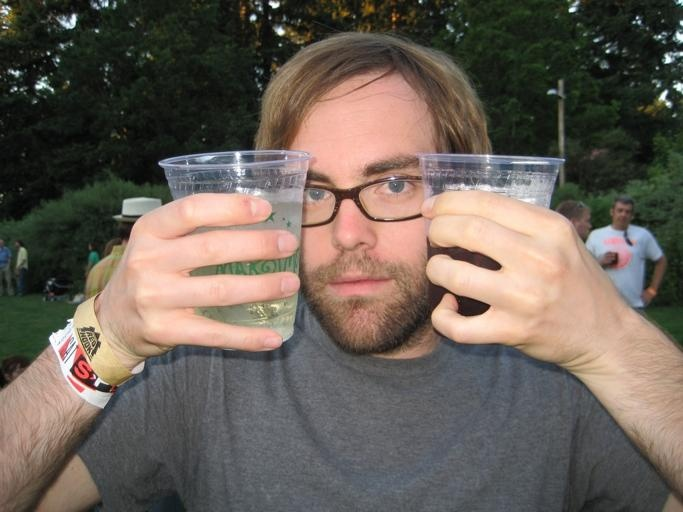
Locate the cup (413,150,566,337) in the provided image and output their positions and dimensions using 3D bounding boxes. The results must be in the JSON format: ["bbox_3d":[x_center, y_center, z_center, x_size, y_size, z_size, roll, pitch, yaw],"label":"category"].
[{"bbox_3d":[0.444,-0.070,2.044,0.546,0.511,0.539,1,2,0],"label":"cup"}]

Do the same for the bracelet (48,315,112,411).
[{"bbox_3d":[-0.850,0.348,2.018,0.163,0.304,0.234,-40,4,-16],"label":"bracelet"}]

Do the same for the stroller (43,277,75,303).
[{"bbox_3d":[-8.625,1.036,17.249,0.917,0.811,0.655,-1,4,2],"label":"stroller"}]

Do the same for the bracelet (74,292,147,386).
[{"bbox_3d":[-0.777,0.269,1.964,0.156,0.285,0.228,-39,20,-25],"label":"bracelet"}]

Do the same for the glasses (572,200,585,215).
[{"bbox_3d":[3.453,-0.674,8.176,0.079,0.191,0.369,1,-2,15],"label":"glasses"}]
